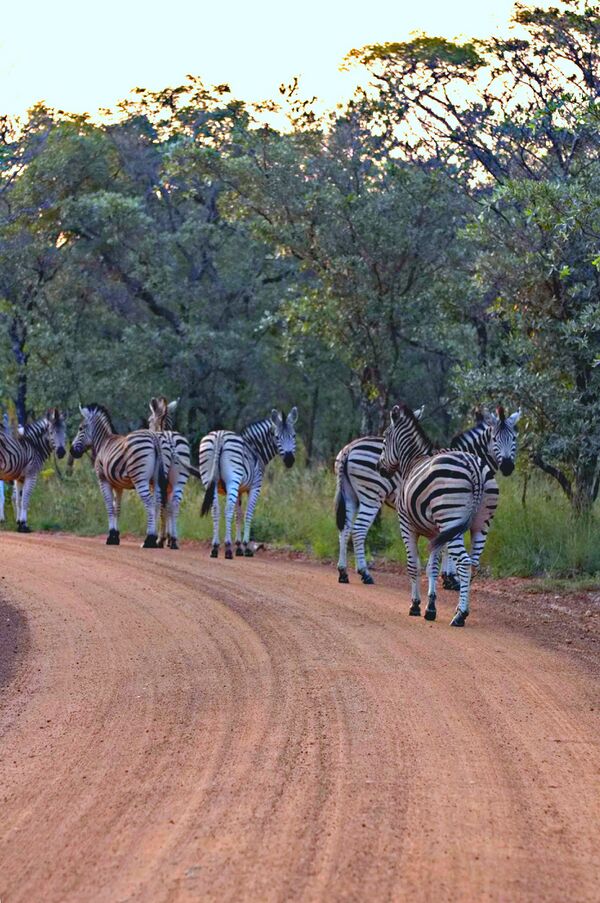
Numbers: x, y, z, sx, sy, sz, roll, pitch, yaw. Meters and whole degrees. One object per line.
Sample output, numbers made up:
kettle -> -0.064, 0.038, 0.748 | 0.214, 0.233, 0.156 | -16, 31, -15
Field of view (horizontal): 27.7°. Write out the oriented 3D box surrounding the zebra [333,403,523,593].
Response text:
zebra -> 1.434, 0.506, 13.431 | 2.084, 1.985, 0.605 | 2, 4, -10

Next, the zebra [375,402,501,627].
zebra -> 1.346, 0.647, 11.066 | 0.572, 1.973, 2.530 | -1, 7, -23

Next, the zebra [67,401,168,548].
zebra -> -2.461, 0.306, 16.772 | 1.953, 1.965, 0.601 | 1, 4, 45

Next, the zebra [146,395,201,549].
zebra -> -1.883, 0.250, 17.393 | 0.507, 2.034, 2.441 | -1, 4, -6
